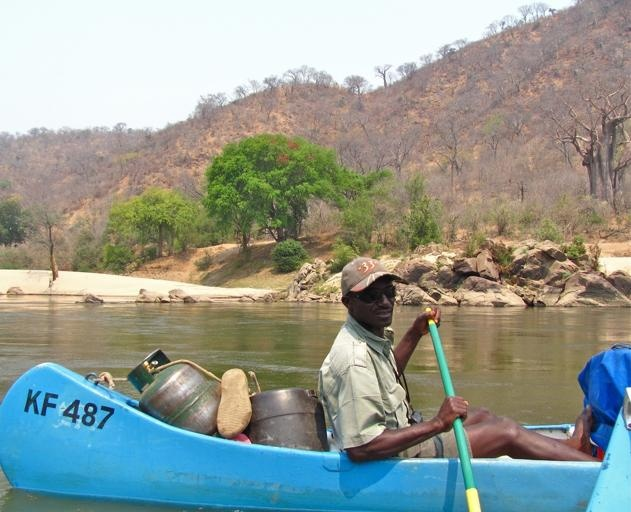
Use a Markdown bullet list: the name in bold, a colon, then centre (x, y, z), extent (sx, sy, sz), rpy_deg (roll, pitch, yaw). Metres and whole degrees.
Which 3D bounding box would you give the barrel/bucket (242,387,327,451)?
- **barrel/bucket**: centre (-0.481, 3.427, 20.900), extent (1.362, 1.288, 1.466), rpy_deg (-4, -23, -2)
